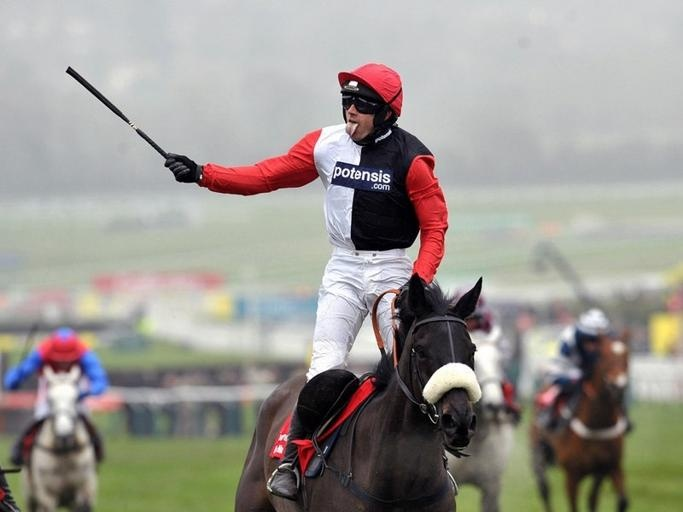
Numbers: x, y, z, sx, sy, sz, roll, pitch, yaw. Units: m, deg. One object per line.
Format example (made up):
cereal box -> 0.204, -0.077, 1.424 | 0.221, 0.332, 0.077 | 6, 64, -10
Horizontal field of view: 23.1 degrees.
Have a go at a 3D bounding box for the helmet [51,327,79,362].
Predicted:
helmet -> -3.109, 0.999, 18.889 | 0.338, 0.382, 0.209 | -2, -1, -10

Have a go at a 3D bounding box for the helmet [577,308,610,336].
helmet -> 2.992, 0.753, 19.323 | 0.334, 0.186, 0.321 | 3, 0, 10

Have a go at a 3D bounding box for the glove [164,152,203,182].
glove -> -1.591, -0.905, 16.842 | 0.280, 0.307, 0.285 | -3, -2, 39

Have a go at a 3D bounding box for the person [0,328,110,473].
person -> -3.242, 1.600, 19.003 | 1.157, 1.570, 0.522 | -2, -1, -11

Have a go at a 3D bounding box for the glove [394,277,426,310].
glove -> 0.718, 0.338, 16.175 | 0.209, 0.342, 0.370 | -1, -2, -42
